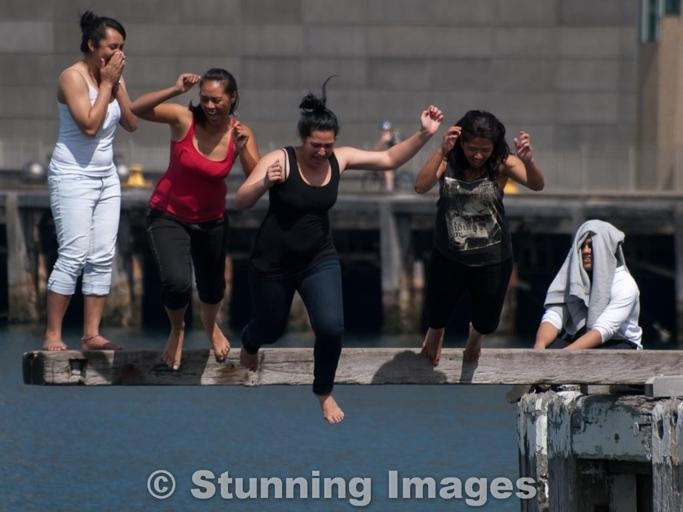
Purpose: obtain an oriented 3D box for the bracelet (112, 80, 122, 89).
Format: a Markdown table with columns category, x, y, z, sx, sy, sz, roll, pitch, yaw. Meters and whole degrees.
| category | x | y | z | sx | sy | sz | roll | pitch | yaw |
| --- | --- | --- | --- | --- | --- | --- | --- | --- | --- |
| bracelet | -4.657 | -3.527 | 48.109 | 0.152 | 0.168 | 0.101 | 26 | 19 | -18 |
